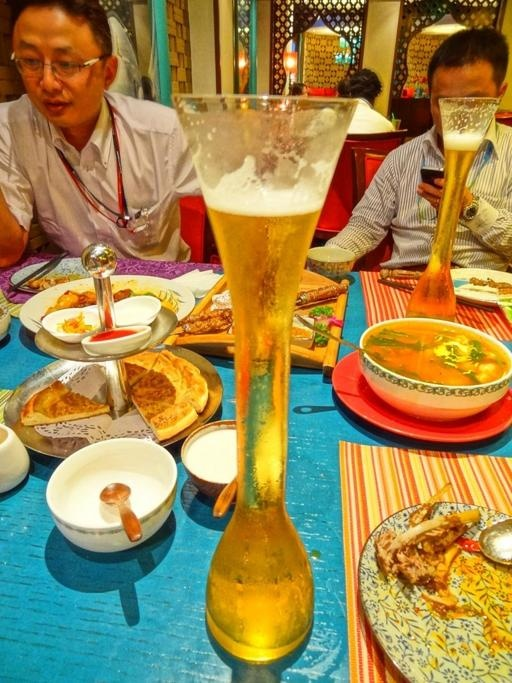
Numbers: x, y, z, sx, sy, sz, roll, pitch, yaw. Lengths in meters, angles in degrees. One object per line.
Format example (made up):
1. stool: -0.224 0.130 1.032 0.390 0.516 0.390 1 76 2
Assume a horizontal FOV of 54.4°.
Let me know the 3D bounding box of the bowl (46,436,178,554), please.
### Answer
1. bowl: -0.202 0.247 0.720 0.155 0.062 0.154 -2 13 0

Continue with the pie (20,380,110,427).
1. pie: -0.364 0.124 0.945 0.094 0.023 0.090 12 19 4

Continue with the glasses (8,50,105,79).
1. glasses: -0.764 -1.082 1.953 0.330 0.078 0.155 -9 33 -18

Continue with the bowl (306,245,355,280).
1. bowl: 0.263 -0.278 1.777 0.181 0.102 0.171 4 31 -2

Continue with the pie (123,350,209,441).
1. pie: -0.186 0.097 1.048 0.157 0.043 0.290 -9 33 -16

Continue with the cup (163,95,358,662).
1. cup: 0.007 0.083 0.481 0.138 0.573 0.187 -3 34 -8

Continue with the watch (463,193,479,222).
1. watch: 0.878 -0.568 2.052 0.052 0.106 0.111 7 -6 26

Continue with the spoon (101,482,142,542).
1. spoon: -0.181 0.229 0.678 0.036 0.017 0.127 -6 11 -19
